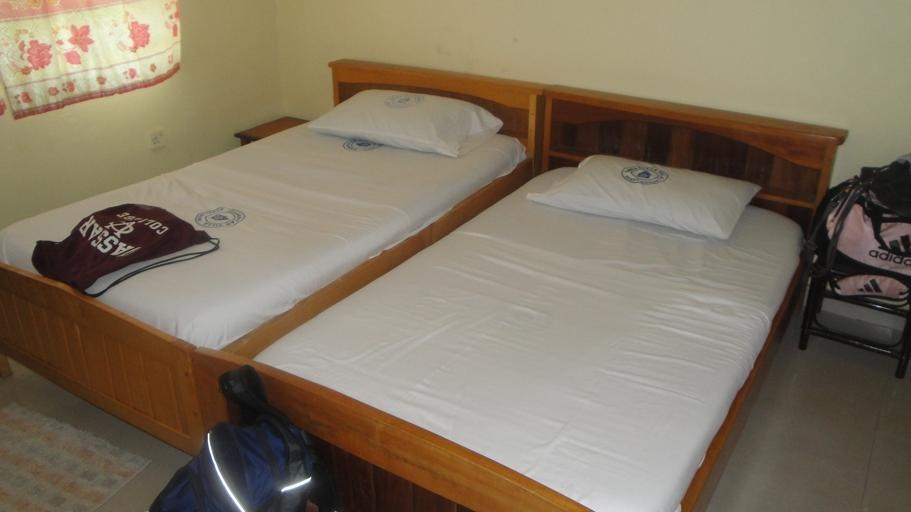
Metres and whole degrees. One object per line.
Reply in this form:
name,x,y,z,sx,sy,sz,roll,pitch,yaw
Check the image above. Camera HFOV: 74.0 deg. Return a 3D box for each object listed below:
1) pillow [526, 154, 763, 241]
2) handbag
pillow,1.189,-0.384,3.788,1.016,0.161,0.621,14,38,24
handbag,-1.834,-0.050,3.289,0.645,0.144,0.617,18,31,27
